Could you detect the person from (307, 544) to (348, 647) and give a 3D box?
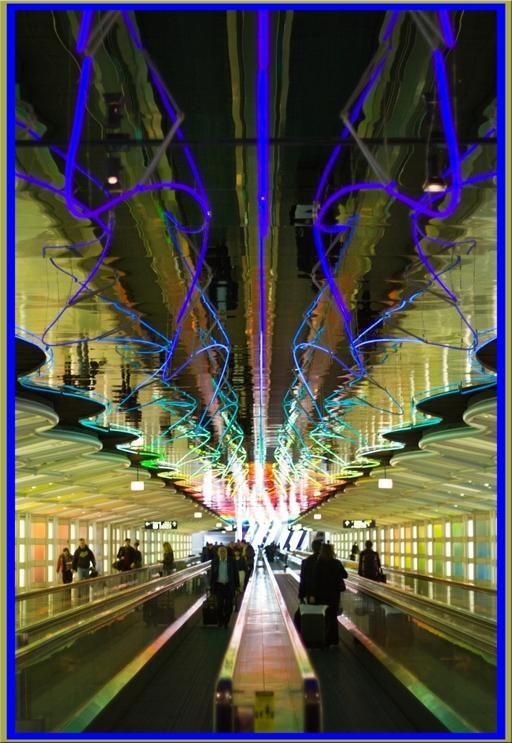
[{"bbox_3d":[1.418,4.198,11.724,0.713,1.678,0.457,-1,-10,14],"label":"person"}]

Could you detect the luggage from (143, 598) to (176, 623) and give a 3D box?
[{"bbox_3d":[-2.430,6.000,15.402,0.620,0.709,1.098,3,-14,6],"label":"luggage"}]
